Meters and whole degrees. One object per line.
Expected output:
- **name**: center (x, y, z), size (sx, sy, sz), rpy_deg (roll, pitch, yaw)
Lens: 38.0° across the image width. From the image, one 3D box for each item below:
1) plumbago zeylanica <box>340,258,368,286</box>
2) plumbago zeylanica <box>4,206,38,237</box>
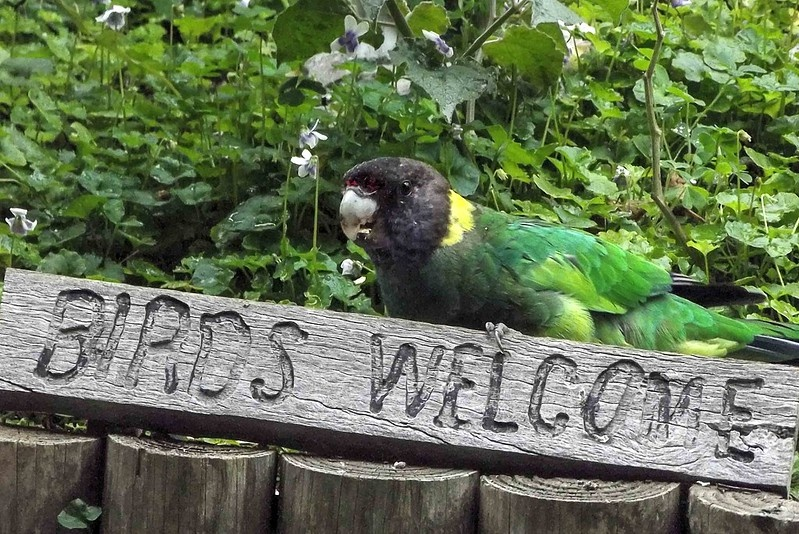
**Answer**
- **plumbago zeylanica**: center (-0.203, 0.030, 5.366), size (0.092, 0.062, 0.134), rpy_deg (36, -11, 18)
- **plumbago zeylanica**: center (-1.690, -0.203, 5.242), size (0.105, 0.094, 0.171), rpy_deg (7, 2, -22)
